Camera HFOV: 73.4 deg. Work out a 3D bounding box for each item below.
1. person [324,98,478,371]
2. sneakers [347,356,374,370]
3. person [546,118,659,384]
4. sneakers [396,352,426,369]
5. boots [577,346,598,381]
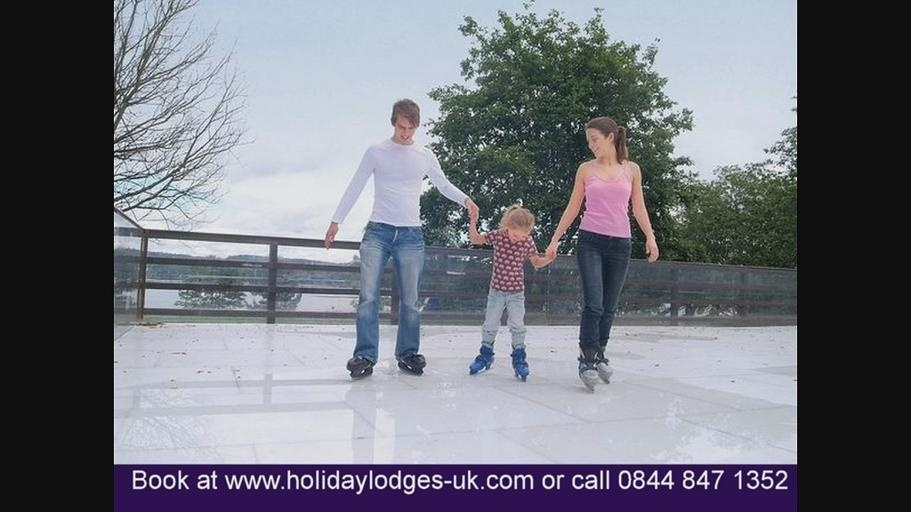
[{"bbox_3d":[-0.445,-0.118,3.944,0.734,1.142,0.421,2,-1,-11],"label":"person"},{"bbox_3d":[-0.579,0.659,3.705,0.079,0.104,0.163,-10,-25,22],"label":"sneakers"},{"bbox_3d":[0.895,-0.082,3.859,0.568,1.739,0.691,2,-1,24],"label":"person"},{"bbox_3d":[-0.308,0.673,3.984,0.217,0.072,0.087,2,15,35],"label":"sneakers"},{"bbox_3d":[0.785,0.623,3.602,0.101,0.179,0.187,2,-1,15],"label":"boots"}]
